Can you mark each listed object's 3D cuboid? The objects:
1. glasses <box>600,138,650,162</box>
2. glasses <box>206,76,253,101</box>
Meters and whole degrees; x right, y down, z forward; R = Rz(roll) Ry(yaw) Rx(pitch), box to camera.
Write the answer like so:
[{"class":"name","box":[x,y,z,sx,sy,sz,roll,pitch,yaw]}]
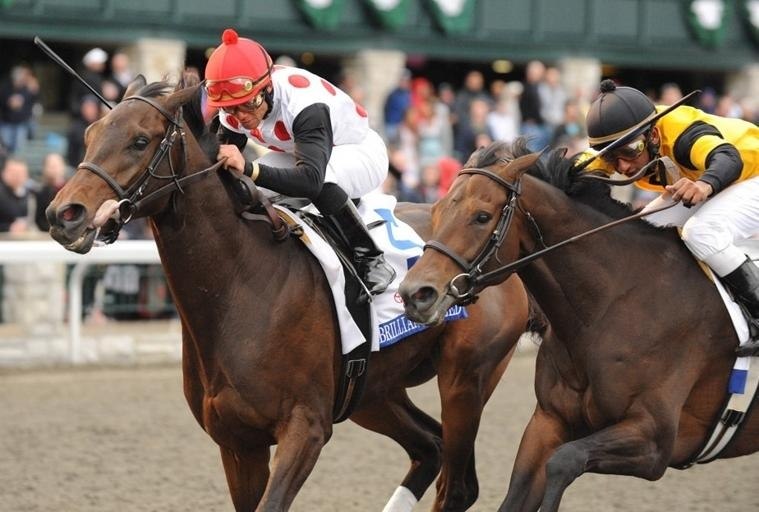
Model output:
[{"class":"glasses","box":[1.444,-0.615,7.871,0.152,0.054,0.174,-24,6,45]},{"class":"glasses","box":[-0.865,-0.962,7.766,0.268,0.139,0.069,0,15,-6]}]
